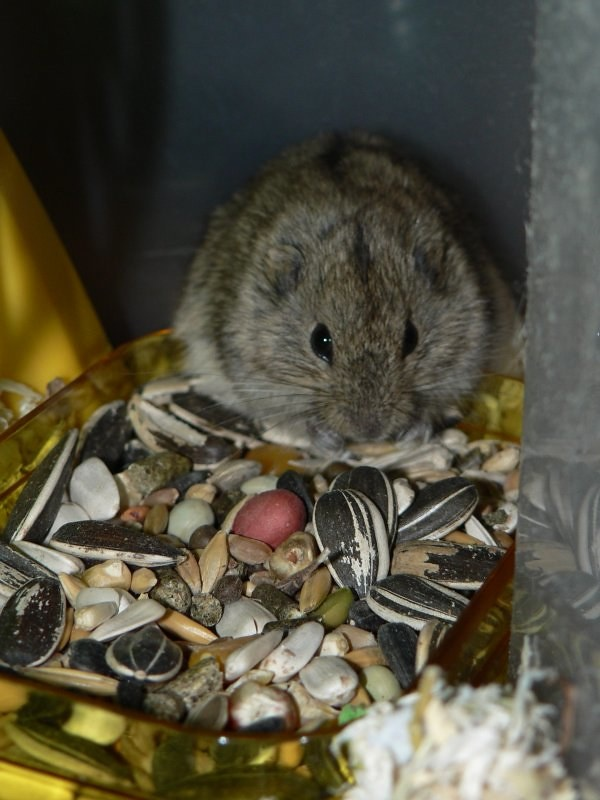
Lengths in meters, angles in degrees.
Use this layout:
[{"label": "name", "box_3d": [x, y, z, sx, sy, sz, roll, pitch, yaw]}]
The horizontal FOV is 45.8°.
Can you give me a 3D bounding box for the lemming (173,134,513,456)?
[{"label": "lemming", "box_3d": [0.080, -0.200, 1.338, 0.612, 0.424, 0.732, -6, 37, -6]}]
